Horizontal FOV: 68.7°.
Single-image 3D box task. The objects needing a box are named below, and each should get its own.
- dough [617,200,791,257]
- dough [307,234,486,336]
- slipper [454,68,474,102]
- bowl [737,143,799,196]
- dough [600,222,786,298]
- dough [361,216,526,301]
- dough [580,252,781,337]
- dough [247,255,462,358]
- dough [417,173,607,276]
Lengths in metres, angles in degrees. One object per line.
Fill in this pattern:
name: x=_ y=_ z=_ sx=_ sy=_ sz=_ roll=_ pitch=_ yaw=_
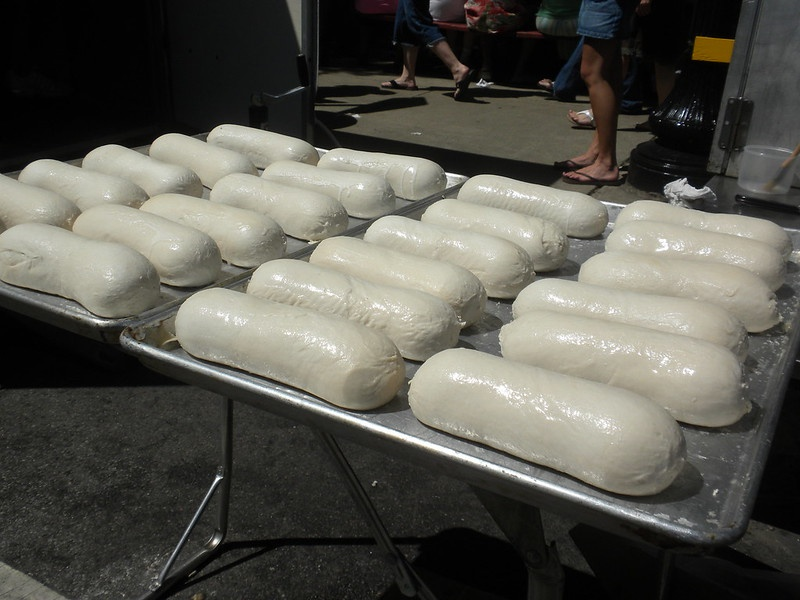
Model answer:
dough: x=1.050 y=-0.288 z=2.114 sx=0.572 sy=0.198 sz=0.225 roll=13 pitch=37 yaw=30
dough: x=-0.033 y=-0.107 z=1.853 sx=0.598 sy=0.195 sz=0.230 roll=22 pitch=16 yaw=21
slipper: x=0.865 y=-2.865 z=7.875 sx=0.171 sy=0.515 sz=0.208 roll=-7 pitch=58 yaw=4
bowl: x=1.764 y=-0.618 z=2.801 sx=0.233 sy=0.187 sz=0.248 roll=-1 pitch=20 yaw=0
dough: x=0.947 y=-0.191 z=1.964 sx=0.552 sy=0.213 sz=0.240 roll=13 pitch=26 yaw=21
dough: x=0.170 y=-0.186 z=1.973 sx=0.614 sy=0.201 sz=0.212 roll=18 pitch=29 yaw=21
dough: x=0.839 y=-0.062 z=1.783 sx=0.502 sy=0.181 sz=0.232 roll=12 pitch=31 yaw=30
dough: x=-0.115 y=0.021 z=1.709 sx=0.683 sy=0.222 sz=0.239 roll=17 pitch=35 yaw=16
dough: x=0.439 y=-0.323 z=2.154 sx=0.471 sy=0.159 sz=0.460 roll=16 pitch=38 yaw=28
